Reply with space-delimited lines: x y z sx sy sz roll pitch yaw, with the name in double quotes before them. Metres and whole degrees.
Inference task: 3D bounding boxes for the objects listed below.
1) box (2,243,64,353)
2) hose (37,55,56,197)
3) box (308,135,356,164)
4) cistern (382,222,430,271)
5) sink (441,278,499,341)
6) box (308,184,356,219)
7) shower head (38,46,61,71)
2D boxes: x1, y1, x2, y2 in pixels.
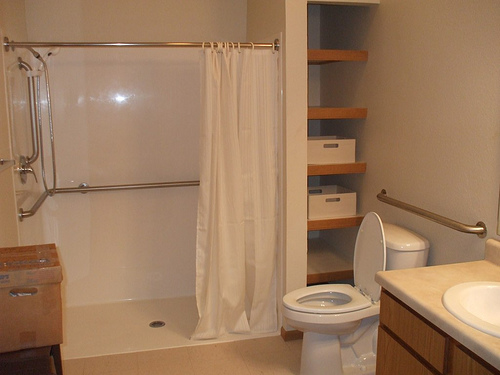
"box" -0.889 0.456 1.895 0.304 0.456 0.427 0 1 -20
"hose" -1.555 -0.508 3.209 0.020 1.043 0.174 -5 0 3
"box" 0.627 -0.283 3.273 0.250 0.128 0.265 0 3 -11
"cistern" 1.017 0.464 2.868 0.229 0.345 0.443 -3 7 -1
"sink" 0.976 0.546 1.879 0.227 0.146 0.415 8 16 31
"box" 0.642 0.092 3.495 0.427 0.193 0.460 -1 14 -5
"shower head" -1.580 -1.019 3.317 0.065 0.249 0.087 23 19 7
